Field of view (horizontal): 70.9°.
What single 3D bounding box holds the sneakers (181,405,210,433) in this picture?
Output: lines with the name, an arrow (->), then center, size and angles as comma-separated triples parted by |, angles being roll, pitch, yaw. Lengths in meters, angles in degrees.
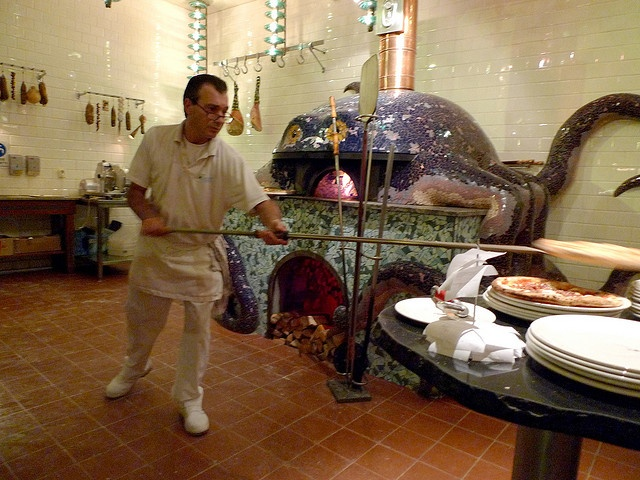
sneakers -> -0.751, 1.043, 2.701 | 0.153, 0.087, 0.292 | -9, 17, -20

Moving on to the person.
person -> -0.760, 0.065, 2.671 | 1.074, 2.075, 0.642 | 13, 20, 27
